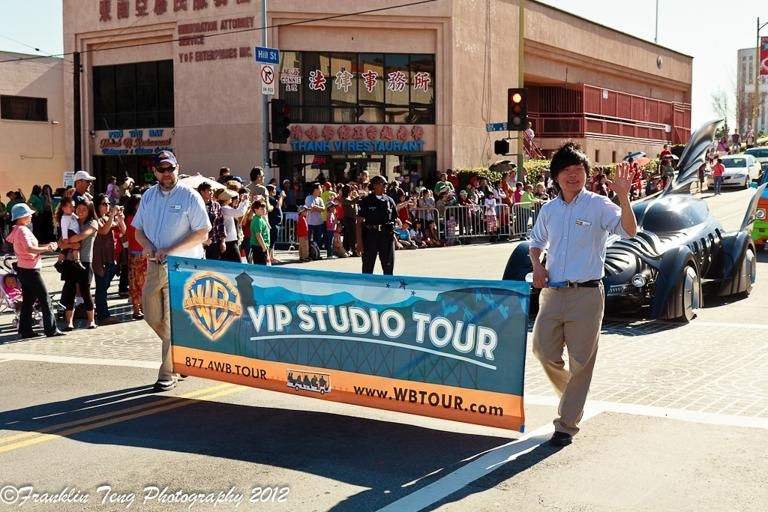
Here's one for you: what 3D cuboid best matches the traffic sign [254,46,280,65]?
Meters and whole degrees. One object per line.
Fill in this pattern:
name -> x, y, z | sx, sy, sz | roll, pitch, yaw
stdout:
traffic sign -> -3.339, -5.802, 21.701 | 0.514, 0.554, 0.844 | -1, 9, 2

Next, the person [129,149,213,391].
person -> -2.625, 0.143, 9.448 | 0.932, 2.920, 0.768 | -3, 8, -16

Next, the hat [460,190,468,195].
hat -> 2.840, -2.274, 26.342 | 0.290, 0.130, 0.308 | -1, 1, -3

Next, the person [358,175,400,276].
person -> -0.095, -0.393, 14.847 | 0.734, 2.517, 0.715 | 2, 25, -2

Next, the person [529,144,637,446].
person -> 1.988, 0.361, 7.623 | 0.946, 2.991, 0.709 | 0, 8, 11

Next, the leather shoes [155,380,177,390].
leather shoes -> -2.698, 1.590, 9.288 | 0.231, 0.125, 0.107 | -5, 9, -22

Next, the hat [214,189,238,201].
hat -> -3.167, -1.292, 15.445 | 0.367, 0.206, 0.569 | 3, 10, 24

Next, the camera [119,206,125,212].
camera -> -5.358, -0.989, 15.456 | 0.161, 0.053, 0.160 | -21, 21, -31

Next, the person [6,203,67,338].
person -> -5.823, 0.221, 12.586 | 0.656, 2.175, 1.237 | -5, 9, -28

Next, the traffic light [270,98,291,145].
traffic light -> -3.085, -4.113, 22.598 | 0.526, 1.248, 0.835 | -2, 8, -5

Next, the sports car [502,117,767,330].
sports car -> 4.809, -0.488, 14.266 | 5.301, 3.714, 2.640 | 0, -1, -44

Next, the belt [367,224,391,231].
belt -> -0.047, -0.564, 14.681 | 0.483, 0.144, 0.099 | -2, 8, -6

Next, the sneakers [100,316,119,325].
sneakers -> -4.875, 1.145, 13.412 | 0.278, 0.132, 0.107 | -2, 6, -6

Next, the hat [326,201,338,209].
hat -> -1.503, -1.545, 22.470 | 0.438, 0.186, 0.278 | -7, 11, -36

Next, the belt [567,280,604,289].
belt -> 2.060, 0.270, 7.573 | 0.383, 0.084, 0.094 | -4, 9, -20

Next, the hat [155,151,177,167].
hat -> -2.734, -1.227, 9.476 | 0.254, 0.202, 0.395 | -4, 9, -17
